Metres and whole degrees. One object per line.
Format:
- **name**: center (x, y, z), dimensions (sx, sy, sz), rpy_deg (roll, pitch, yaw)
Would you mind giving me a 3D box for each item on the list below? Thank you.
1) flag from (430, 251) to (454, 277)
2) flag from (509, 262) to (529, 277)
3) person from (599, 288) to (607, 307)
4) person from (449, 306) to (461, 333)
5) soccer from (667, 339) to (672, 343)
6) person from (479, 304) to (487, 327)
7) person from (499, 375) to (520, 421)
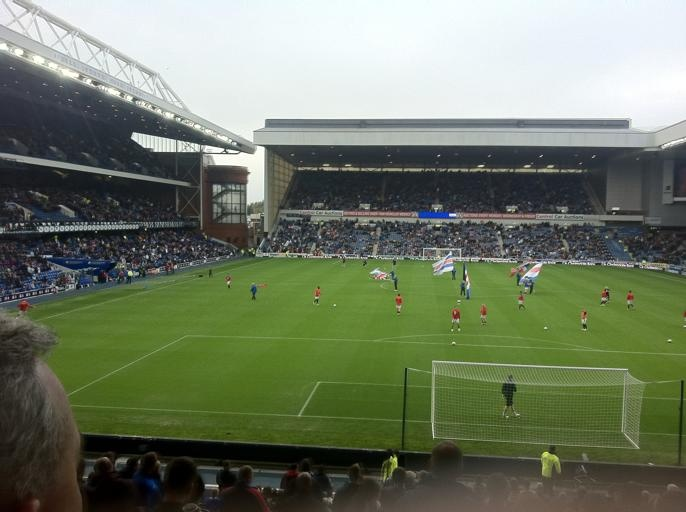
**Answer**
- **flag**: center (8.868, 0.655, 54.444), dimensions (0.465, 2.057, 2.081), rpy_deg (24, -22, -36)
- **flag**: center (15.418, 1.131, 53.122), dimensions (1.379, 1.195, 0.286), rpy_deg (-3, -10, 28)
- **person**: center (16.585, 2.524, 38.370), dimensions (0.426, 0.937, 0.948), rpy_deg (2, 4, 22)
- **person**: center (5.790, 3.189, 31.133), dimensions (0.500, 1.113, 1.930), rpy_deg (1, 4, 9)
- **soccer**: center (15.340, 3.955, 28.383), dimensions (0.162, 0.087, 0.155), rpy_deg (-9, 12, -38)
- **person**: center (7.497, 3.017, 32.246), dimensions (0.322, 1.092, 1.644), rpy_deg (1, 4, 13)
- **person**: center (5.696, 4.735, 20.429), dimensions (0.568, 1.187, 1.004), rpy_deg (1, 4, 16)
